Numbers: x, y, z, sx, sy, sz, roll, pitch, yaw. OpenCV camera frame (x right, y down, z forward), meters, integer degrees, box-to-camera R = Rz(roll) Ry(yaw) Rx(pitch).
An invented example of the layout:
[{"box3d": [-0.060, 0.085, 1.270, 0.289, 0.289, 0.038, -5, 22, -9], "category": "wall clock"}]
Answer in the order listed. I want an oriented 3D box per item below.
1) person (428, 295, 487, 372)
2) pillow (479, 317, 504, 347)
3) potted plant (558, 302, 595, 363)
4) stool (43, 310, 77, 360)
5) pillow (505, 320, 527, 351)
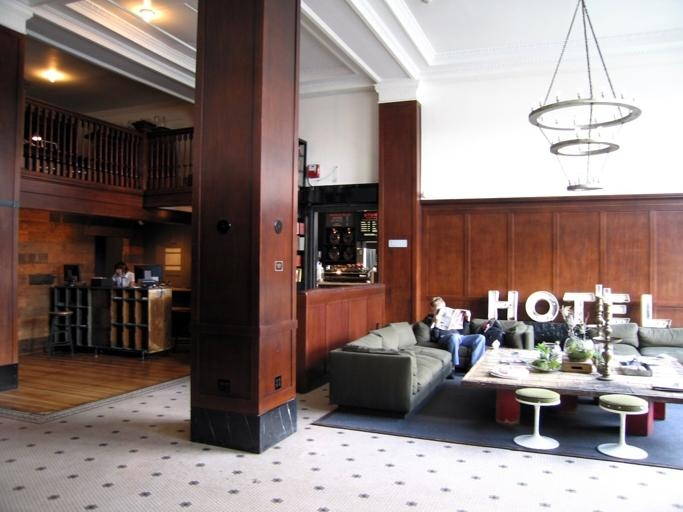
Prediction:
[{"box3d": [1.991, 1.342, 9.041, 0.883, 1.369, 0.891, 16, -24, -33], "category": "person"}, {"box3d": [2.604, 1.314, 9.015, 0.461, 0.444, 0.346, 26, -2, 15], "category": "pillow"}, {"box3d": [3.758, 1.214, 8.215, 0.576, 1.043, 0.684, -6, -9, 43], "category": "potted plant"}, {"box3d": [-5.659, 1.517, 10.438, 0.448, 0.884, 0.805, -2, 4, -27], "category": "stool"}, {"box3d": [3.039, 1.330, 9.117, 0.336, 0.576, 0.604, 2, -1, -7], "category": "pillow"}]
